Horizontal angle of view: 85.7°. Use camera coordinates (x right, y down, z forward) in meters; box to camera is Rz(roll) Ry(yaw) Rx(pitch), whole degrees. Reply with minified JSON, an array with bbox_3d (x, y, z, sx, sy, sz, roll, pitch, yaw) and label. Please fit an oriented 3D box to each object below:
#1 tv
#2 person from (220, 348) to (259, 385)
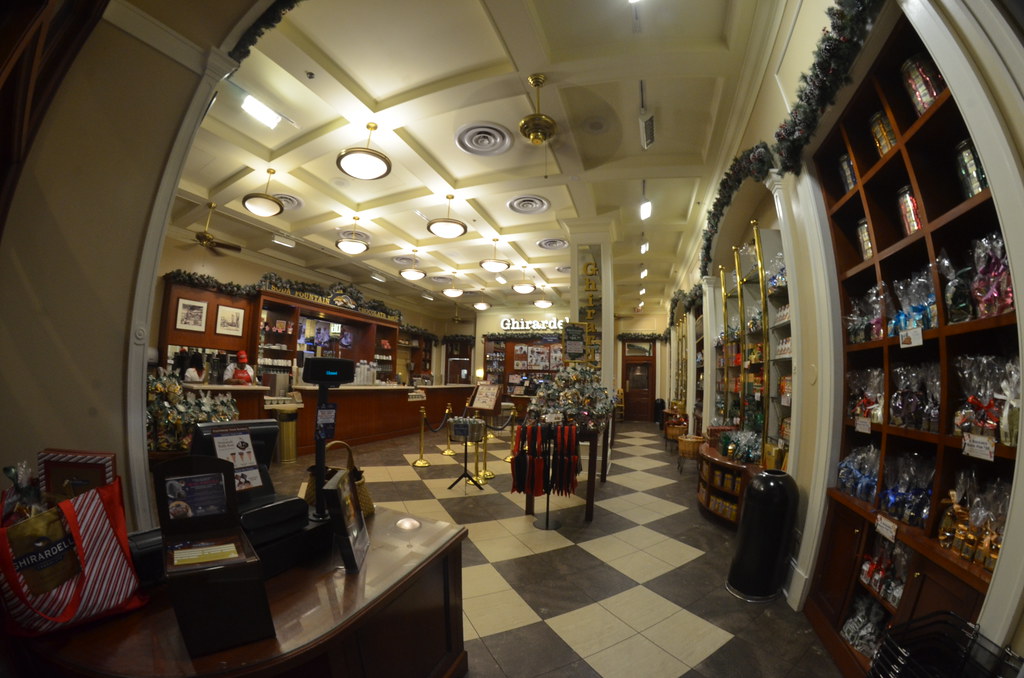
[{"bbox_3d":[-1.588,0.720,3.196,0.442,0.456,0.305,-1,6,-38],"label":"tv"},{"bbox_3d":[-4.496,0.479,9.080,0.425,0.745,0.540,-3,-2,20],"label":"person"}]
